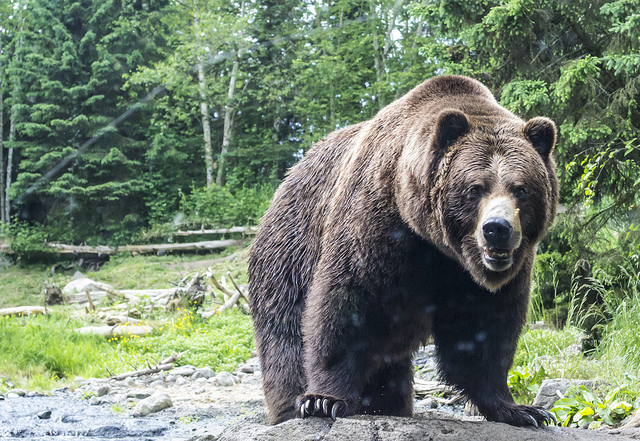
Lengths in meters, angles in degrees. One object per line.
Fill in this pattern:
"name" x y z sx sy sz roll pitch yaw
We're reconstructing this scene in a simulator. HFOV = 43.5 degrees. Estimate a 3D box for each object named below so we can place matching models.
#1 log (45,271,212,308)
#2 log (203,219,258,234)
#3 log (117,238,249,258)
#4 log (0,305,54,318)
"log" -5.624 2.103 24.061 2.852 1.004 0.718 -6 -5 12
"log" -3.286 0.246 29.910 2.444 0.526 0.698 -1 2 32
"log" -5.181 1.043 30.277 5.143 0.576 0.407 -1 1 19
"log" -7.860 2.404 21.400 0.871 0.242 0.570 1 -2 -10
